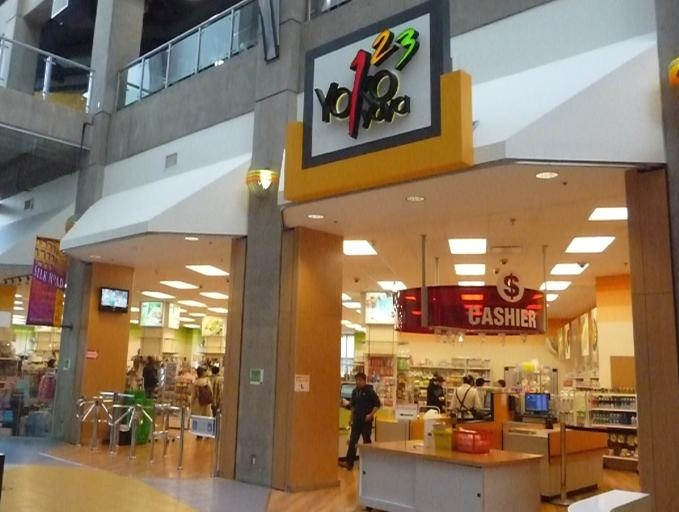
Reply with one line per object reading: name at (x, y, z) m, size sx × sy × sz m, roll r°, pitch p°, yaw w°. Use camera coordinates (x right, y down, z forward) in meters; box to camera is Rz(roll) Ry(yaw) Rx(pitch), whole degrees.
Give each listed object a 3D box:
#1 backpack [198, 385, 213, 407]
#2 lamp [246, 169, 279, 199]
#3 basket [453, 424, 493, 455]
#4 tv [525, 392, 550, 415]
backpack at (-3.058, 3.228, 13.223) m, size 0.352 × 0.522 × 0.265 m, roll -10°, pitch -10°, yaw -24°
lamp at (-1.213, -1.170, 9.195) m, size 0.386 × 0.350 × 0.422 m, roll 1°, pitch -8°, yaw -1°
basket at (1.677, 2.405, 7.545) m, size 0.285 × 0.236 × 0.385 m, roll 5°, pitch -11°, yaw -27°
tv at (3.503, 2.650, 10.275) m, size 0.355 × 0.361 × 0.158 m, roll -3°, pitch -7°, yaw 37°
